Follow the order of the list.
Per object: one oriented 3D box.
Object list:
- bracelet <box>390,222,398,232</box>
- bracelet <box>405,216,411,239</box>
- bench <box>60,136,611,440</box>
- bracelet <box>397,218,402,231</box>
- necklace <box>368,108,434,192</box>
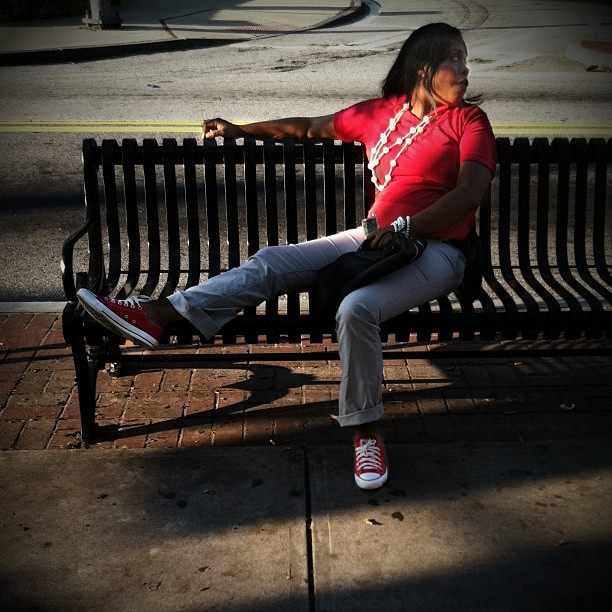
[{"bbox_3d":[0.388,-0.345,2.639,0.014,0.015,0.047,-8,59,-11],"label":"bracelet"},{"bbox_3d":[0.454,-0.351,2.647,0.024,0.081,0.038,7,25,22],"label":"bracelet"},{"bbox_3d":[0.174,-0.050,2.928,2.604,0.939,0.692,-2,46,2],"label":"bench"},{"bbox_3d":[0.414,-0.356,2.626,0.017,0.048,0.012,-26,-16,12],"label":"bracelet"},{"bbox_3d":[0.420,-0.728,2.955,0.115,0.425,0.259,22,19,-46],"label":"necklace"}]
